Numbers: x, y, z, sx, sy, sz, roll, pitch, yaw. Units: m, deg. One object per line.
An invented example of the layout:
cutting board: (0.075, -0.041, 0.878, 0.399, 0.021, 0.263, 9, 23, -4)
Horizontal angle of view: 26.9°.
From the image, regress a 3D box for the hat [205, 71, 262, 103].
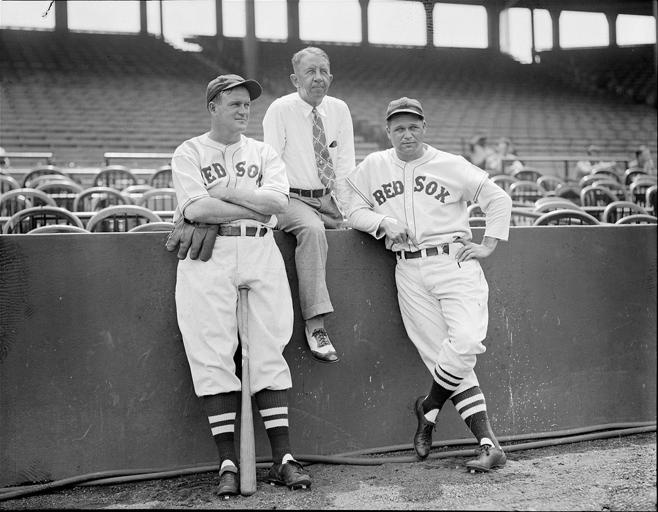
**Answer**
hat: (-0.769, -1.343, 10.819, 0.356, 0.148, 0.245, -16, -2, 17)

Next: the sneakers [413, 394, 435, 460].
sneakers: (0.718, 1.386, 11.094, 0.173, 0.476, 0.187, 3, -3, -29)

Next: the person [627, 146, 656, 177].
person: (3.629, -1.103, 15.950, 0.355, 0.323, 1.033, 2, 16, 9)

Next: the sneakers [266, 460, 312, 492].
sneakers: (-0.314, 1.715, 10.661, 0.365, 0.152, 0.181, -4, -9, 42)

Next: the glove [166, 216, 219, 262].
glove: (-1.076, -0.128, 10.730, 0.389, 0.351, 0.160, 12, 2, 8)

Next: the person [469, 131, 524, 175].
person: (2.268, -1.392, 18.896, 0.445, 0.453, 0.942, 0, 7, -12)

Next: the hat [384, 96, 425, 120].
hat: (0.596, -1.188, 11.025, 0.277, 0.191, 0.246, -2, 0, 17)

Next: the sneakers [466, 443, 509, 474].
sneakers: (1.236, 1.609, 10.850, 0.386, 0.170, 0.160, 1, -6, -36)

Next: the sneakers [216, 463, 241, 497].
sneakers: (-0.794, 1.725, 10.633, 0.181, 0.280, 0.155, -2, 0, -10)
